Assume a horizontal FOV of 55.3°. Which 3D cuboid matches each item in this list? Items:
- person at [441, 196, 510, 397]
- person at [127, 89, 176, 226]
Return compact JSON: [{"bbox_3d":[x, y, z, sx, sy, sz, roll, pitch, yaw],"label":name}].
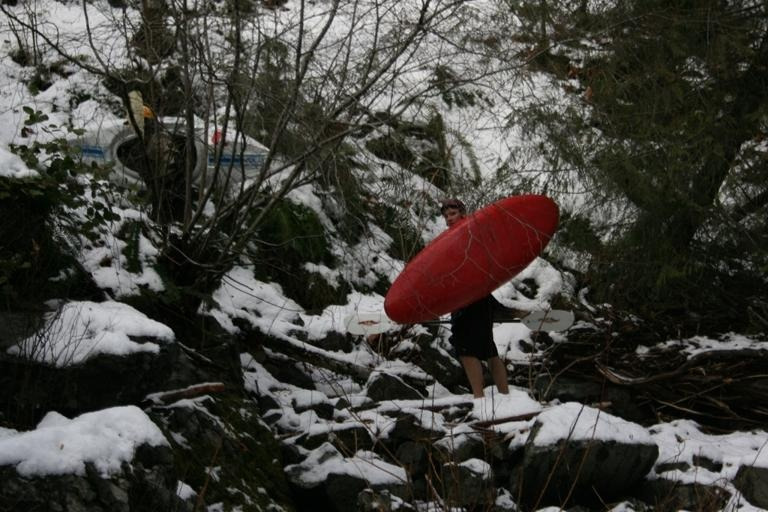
[{"bbox_3d":[0.917,0.392,7.502,0.912,2.599,0.736,-1,-32,7],"label":"person"},{"bbox_3d":[-2.543,-1.201,8.027,0.277,1.358,0.438,17,45,14],"label":"person"}]
